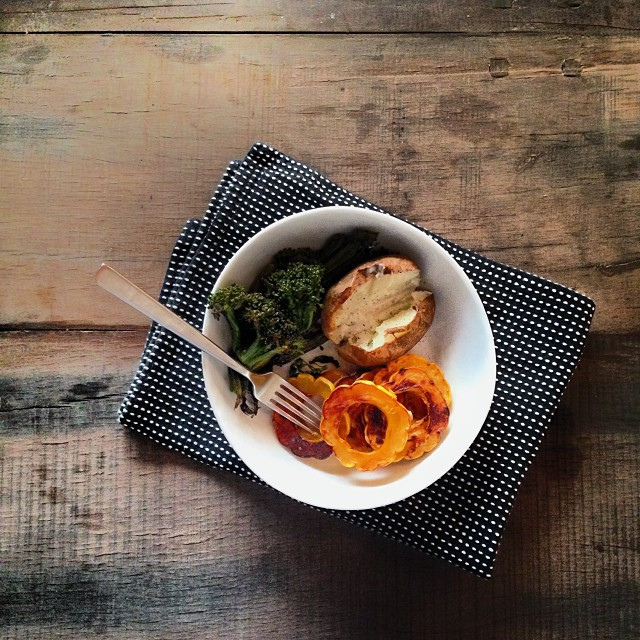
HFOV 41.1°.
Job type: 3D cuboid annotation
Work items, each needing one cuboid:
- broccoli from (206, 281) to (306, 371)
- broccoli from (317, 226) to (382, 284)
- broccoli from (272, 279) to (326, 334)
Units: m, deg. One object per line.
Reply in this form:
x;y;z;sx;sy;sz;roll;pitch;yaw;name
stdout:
-0.158;0.009;1.925;0.163;0.203;0.103;-29;-6;-2;broccoli
0.058;-0.154;1.994;0.113;0.162;0.036;42;18;-20;broccoli
-0.026;-0.037;1.958;0.133;0.088;0.100;0;-5;-3;broccoli
